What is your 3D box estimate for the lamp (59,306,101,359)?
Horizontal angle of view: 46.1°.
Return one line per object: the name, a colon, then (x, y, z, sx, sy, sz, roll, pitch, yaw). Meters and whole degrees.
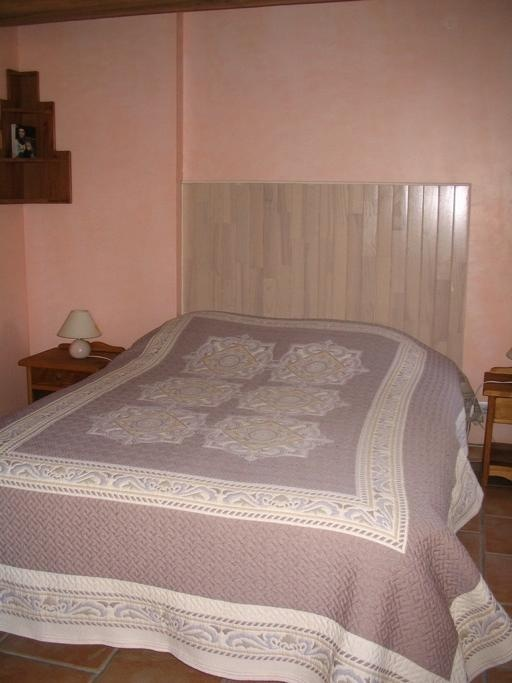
lamp: (-1.015, -0.065, 3.393, 0.301, 0.292, 0.275, -4, 13, -22)
